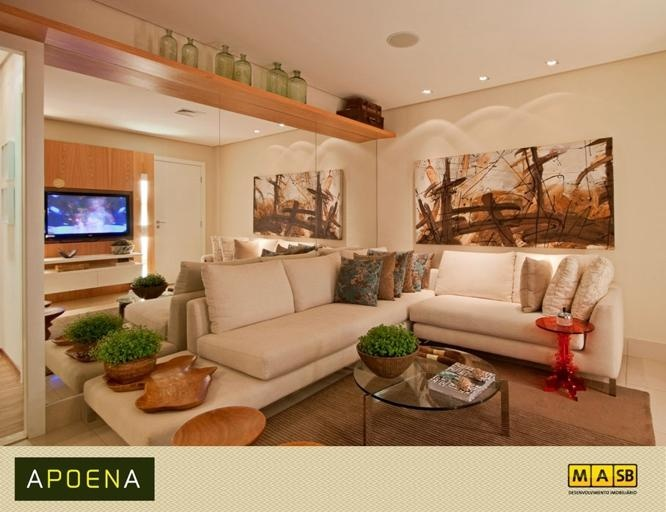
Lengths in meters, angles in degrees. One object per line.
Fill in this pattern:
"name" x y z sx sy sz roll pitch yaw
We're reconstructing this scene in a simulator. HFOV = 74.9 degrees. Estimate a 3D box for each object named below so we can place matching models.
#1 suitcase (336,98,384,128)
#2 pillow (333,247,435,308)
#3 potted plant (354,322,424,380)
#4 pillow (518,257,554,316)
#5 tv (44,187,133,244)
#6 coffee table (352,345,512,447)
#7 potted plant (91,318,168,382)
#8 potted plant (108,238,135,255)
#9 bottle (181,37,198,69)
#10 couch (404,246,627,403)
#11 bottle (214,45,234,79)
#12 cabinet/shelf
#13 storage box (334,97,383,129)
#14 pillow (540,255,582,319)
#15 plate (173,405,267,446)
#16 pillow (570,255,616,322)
"suitcase" 0.318 -1.696 5.343 0.378 0.269 0.481 5 6 41
"pillow" 0.521 0.202 4.299 0.969 0.506 0.266 6 -11 -26
"potted plant" 0.365 0.599 2.864 0.387 0.242 0.377 -1 -2 0
"pillow" 1.949 0.267 4.155 0.236 0.512 0.636 2 0 38
"tv" -1.787 -0.296 3.104 0.484 0.283 0.047 -3 7 -42
"coffee table" 0.603 0.970 3.077 1.078 0.368 0.964 -6 12 -27
"potted plant" -1.355 0.651 2.864 0.295 0.276 0.383 -6 -1 38
"potted plant" -1.600 -0.073 3.274 0.124 0.094 0.115 -1 -5 30
"bottle" -1.238 -1.736 3.725 0.146 0.292 0.319 -4 11 -16
"couch" 1.972 0.702 4.150 2.188 1.052 1.212 -1 0 44
"bottle" -0.975 -1.732 3.893 0.178 0.268 0.154 5 42 -10
"cabinet/shelf" -1.705 0.144 3.246 0.654 0.248 0.191 -7 -3 12
"storage box" 0.267 -1.690 5.392 0.383 0.273 0.489 3 4 43
"pillow" 1.945 0.250 3.748 0.317 0.492 0.177 14 8 -20
"plate" -0.610 0.916 2.371 0.460 0.084 0.302 -1 10 -3
"pillow" 2.291 0.251 3.803 0.270 0.452 0.757 0 -2 31
